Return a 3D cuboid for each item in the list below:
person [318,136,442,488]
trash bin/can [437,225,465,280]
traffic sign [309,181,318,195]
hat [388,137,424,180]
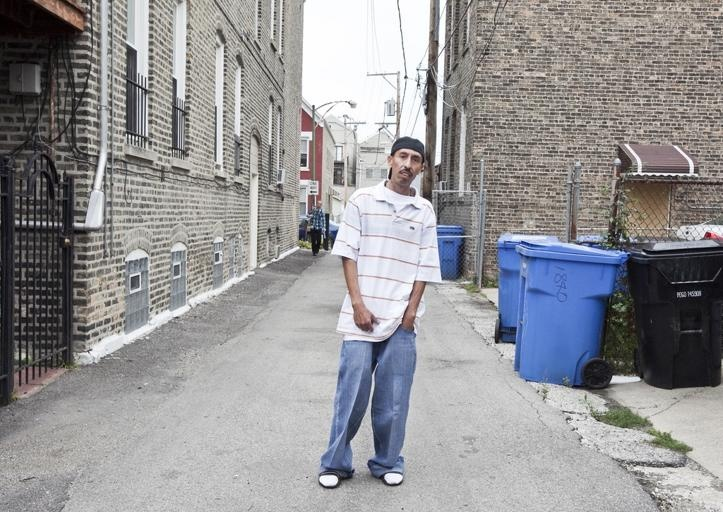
[{"bbox_3d":[0.167,0.457,5.460,1.011,2.923,0.485,0,5,-5],"label":"person"},{"bbox_3d":[2.637,0.142,19.235,0.906,1.636,1.025,0,-25,9],"label":"trash bin/can"},{"bbox_3d":[-2.805,-3.915,37.128,0.437,0.795,2.396,0,6,-7],"label":"traffic sign"},{"bbox_3d":[0.390,-0.900,5.445,0.277,0.211,0.151,1,5,1],"label":"hat"}]
